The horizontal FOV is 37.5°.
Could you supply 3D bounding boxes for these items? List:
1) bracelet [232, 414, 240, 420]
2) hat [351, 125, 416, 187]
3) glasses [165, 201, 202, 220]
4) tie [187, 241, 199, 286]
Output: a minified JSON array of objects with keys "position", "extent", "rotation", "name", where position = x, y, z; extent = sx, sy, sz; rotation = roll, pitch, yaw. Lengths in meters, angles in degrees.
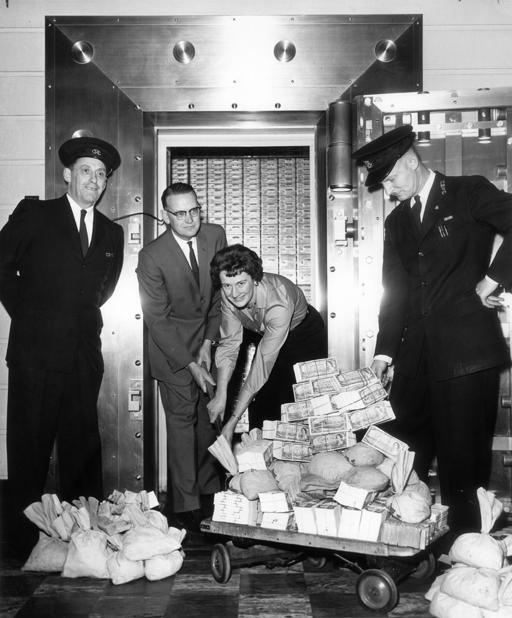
[{"position":[-0.072,0.397,2.785],"extent":[0.018,0.016,0.019],"rotation":[4,4,33],"name":"bracelet"},{"position":[0.448,-0.554,2.711],"extent":[0.145,0.194,0.205],"rotation":[-2,2,-37],"name":"hat"},{"position":[-0.299,-0.393,3.061],"extent":[0.136,0.062,0.093],"rotation":[-1,2,-9],"name":"glasses"},{"position":[-0.265,-0.194,3.200],"extent":[0.018,0.187,0.065],"rotation":[0,1,43],"name":"tie"}]
